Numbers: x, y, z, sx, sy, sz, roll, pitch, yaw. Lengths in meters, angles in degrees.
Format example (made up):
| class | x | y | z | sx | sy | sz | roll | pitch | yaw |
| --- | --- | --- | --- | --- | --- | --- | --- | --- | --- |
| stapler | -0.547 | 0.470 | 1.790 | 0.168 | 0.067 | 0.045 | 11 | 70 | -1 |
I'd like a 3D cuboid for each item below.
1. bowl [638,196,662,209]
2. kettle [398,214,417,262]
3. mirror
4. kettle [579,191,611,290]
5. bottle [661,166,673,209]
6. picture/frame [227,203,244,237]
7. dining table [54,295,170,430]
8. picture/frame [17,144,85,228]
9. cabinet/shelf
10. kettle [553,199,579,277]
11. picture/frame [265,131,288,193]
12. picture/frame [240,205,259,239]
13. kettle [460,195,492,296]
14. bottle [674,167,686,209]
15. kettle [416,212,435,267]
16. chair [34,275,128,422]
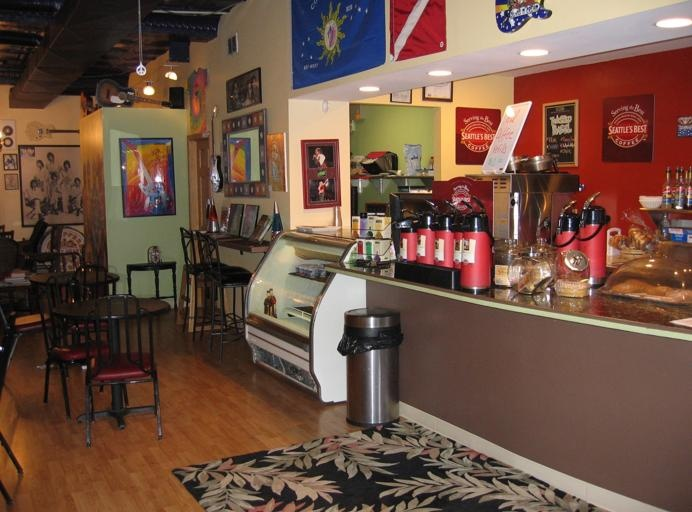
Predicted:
| class | x | y | z | sx | sy | sz | roll | pitch | yaw |
| --- | --- | --- | --- | --- | --- | --- | --- | --- | --- |
| bowl | 3.497 | -0.601 | 6.193 | 0.164 | 0.079 | 0.164 | 1 | 3 | 0 |
| kettle | 0.422 | -0.107 | 3.759 | 0.128 | 0.266 | 0.237 | -1 | 8 | 6 |
| mirror | -1.257 | -1.279 | 6.748 | 0.053 | 1.011 | 1.211 | -3 | 8 | -31 |
| kettle | 1.497 | -0.095 | 3.264 | 0.152 | 0.546 | 0.279 | 6 | 11 | 42 |
| bottle | 3.704 | -0.786 | 6.206 | 0.102 | 0.445 | 0.385 | 3 | 10 | 31 |
| picture/frame | -1.452 | -0.452 | 7.026 | 0.041 | 0.419 | 0.420 | 3 | 5 | -29 |
| dining table | -1.938 | 0.803 | 4.566 | 1.035 | 0.942 | 1.093 | -1 | 7 | -10 |
| picture/frame | -6.580 | -1.579 | 11.824 | 1.852 | 2.006 | 0.146 | -6 | 10 | -33 |
| cabinet/shelf | -0.315 | 0.509 | 5.262 | 0.792 | 1.413 | 1.512 | -3 | 7 | -30 |
| kettle | 1.330 | -0.117 | 3.266 | 0.135 | 0.401 | 0.465 | 1 | 9 | 21 |
| picture/frame | -0.782 | -1.065 | 6.043 | 0.089 | 0.857 | 0.635 | -5 | 10 | -29 |
| picture/frame | -1.201 | -0.408 | 6.662 | 0.045 | 0.439 | 0.385 | 11 | 3 | -27 |
| kettle | 0.787 | -0.023 | 3.263 | 0.189 | 0.469 | 0.165 | -1 | 8 | 4 |
| bottle | 3.764 | -0.737 | 6.076 | 0.126 | 0.406 | 0.282 | 3 | 10 | 32 |
| kettle | 0.530 | -0.113 | 3.579 | 0.100 | 0.331 | 0.171 | -3 | 8 | -9 |
| chair | -2.423 | 0.832 | 4.883 | 0.806 | 1.169 | 0.747 | 1 | 10 | -9 |
